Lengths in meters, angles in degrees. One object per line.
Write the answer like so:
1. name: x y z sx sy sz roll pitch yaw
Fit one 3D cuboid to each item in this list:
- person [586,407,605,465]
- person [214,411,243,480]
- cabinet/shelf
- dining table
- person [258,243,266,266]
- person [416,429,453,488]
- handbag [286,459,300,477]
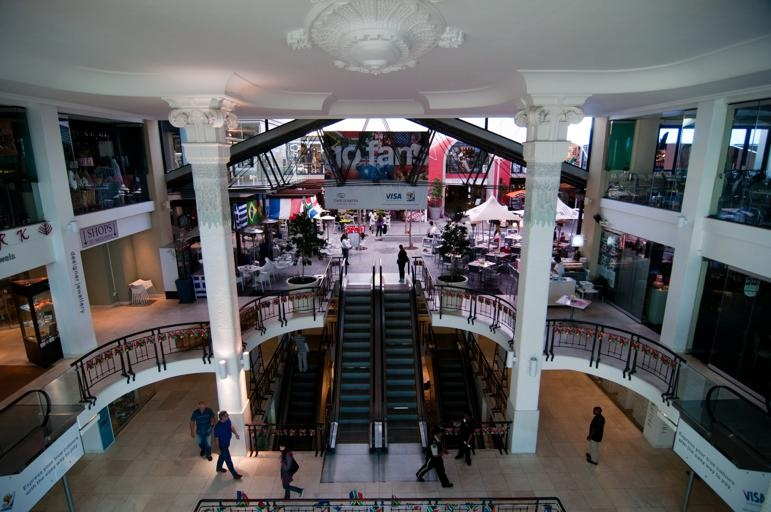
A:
1. person: 6.241 5.217 14.602 0.403 1.846 0.939 4 14 23
2. person: -4.513 5.355 14.031 0.723 1.994 0.899 -7 14 -21
3. cabinet/shelf: -10.599 2.071 15.173 0.901 2.695 0.668 5 15 28
4. dining table: 5.775 0.843 19.866 4.051 1.656 6.674 -7 14 -23
5. person: -6.008 -0.186 24.177 0.344 0.810 0.771 -5 13 -12
6. person: 1.386 5.642 13.723 0.984 1.586 0.581 -1 13 5
7. handbag: -2.453 5.749 13.310 0.172 0.469 0.349 0 13 9
